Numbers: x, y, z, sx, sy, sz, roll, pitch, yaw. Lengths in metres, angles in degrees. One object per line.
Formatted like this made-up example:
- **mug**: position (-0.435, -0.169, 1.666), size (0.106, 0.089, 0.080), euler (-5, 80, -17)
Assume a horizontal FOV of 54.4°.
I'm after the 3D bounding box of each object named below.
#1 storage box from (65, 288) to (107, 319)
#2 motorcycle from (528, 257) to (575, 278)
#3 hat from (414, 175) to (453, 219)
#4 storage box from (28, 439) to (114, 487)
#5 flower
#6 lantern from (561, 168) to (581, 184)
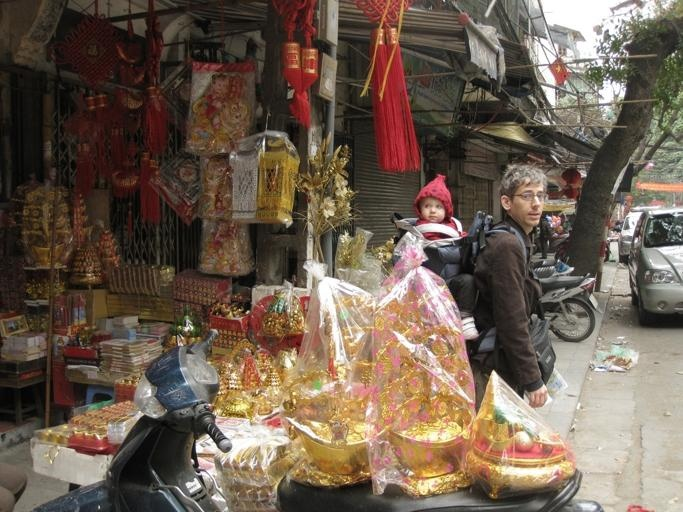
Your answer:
- **storage box**: position (-2.444, 0.448, 6.438), size (0.254, 0.377, 0.373), euler (-2, -3, 30)
- **motorcycle**: position (2.890, 0.161, 9.119), size (0.597, 0.353, 0.288), euler (3, -8, -39)
- **hat**: position (0.694, -0.449, 4.875), size (0.235, 0.342, 0.339), euler (4, -7, 3)
- **storage box**: position (-1.832, 1.392, 4.475), size (0.490, 0.219, 0.530), euler (7, -4, 25)
- **flower**: position (-0.142, -0.465, 5.585), size (0.497, 1.079, 0.478), euler (2, 9, 0)
- **lantern**: position (6.416, -2.233, 18.521), size (0.517, 0.432, 0.433), euler (5, 10, 13)
